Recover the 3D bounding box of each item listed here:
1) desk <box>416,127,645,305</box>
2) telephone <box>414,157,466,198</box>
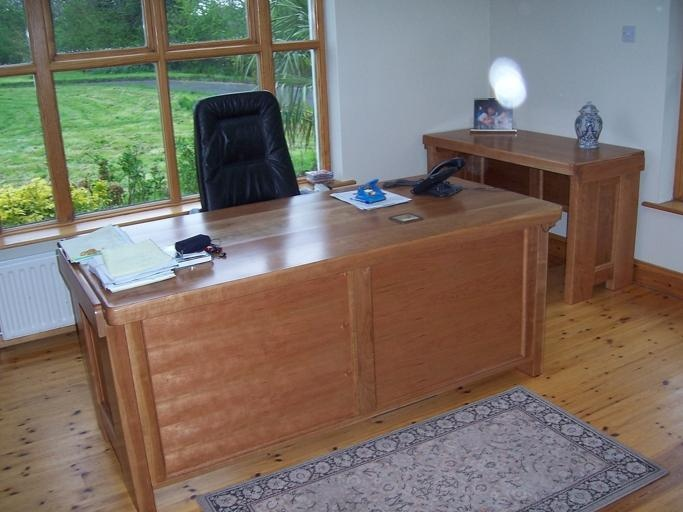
[{"bbox_3d":[1.420,-0.436,4.524,0.873,0.744,1.520,-15,27,-28],"label":"desk"},{"bbox_3d":[0.619,-0.488,3.382,0.332,0.196,0.249,21,33,34],"label":"telephone"}]
